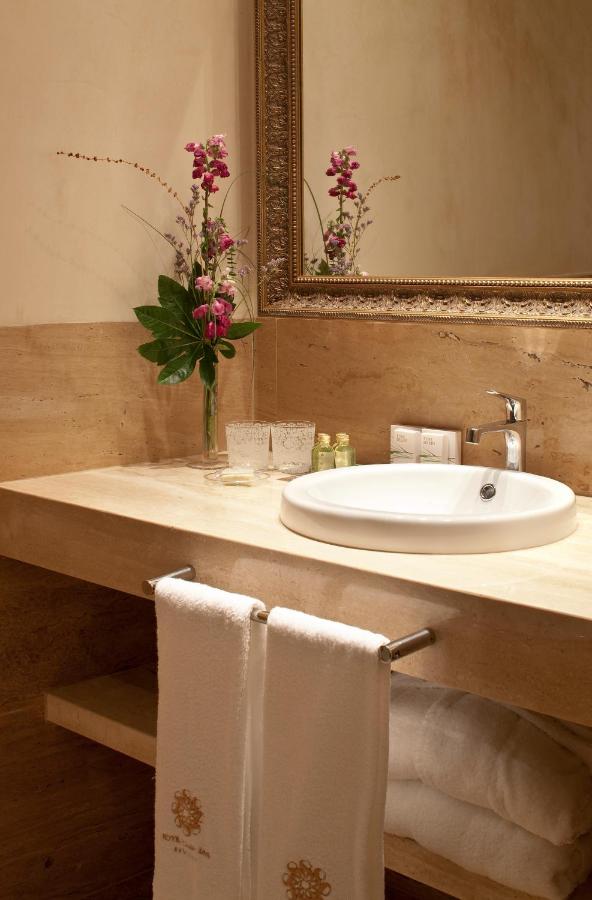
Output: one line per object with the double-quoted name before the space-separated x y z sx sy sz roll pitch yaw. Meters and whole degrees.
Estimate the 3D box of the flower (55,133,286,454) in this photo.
"flower" -0.229 -0.298 1.529 0.433 0.626 0.267 -4 6 -26

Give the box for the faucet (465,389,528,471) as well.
"faucet" 0.328 -0.029 1.235 0.092 0.153 0.294 -1 12 14

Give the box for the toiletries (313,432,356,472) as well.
"toiletries" 0.071 0.005 1.411 0.069 0.065 0.038 3 12 20
